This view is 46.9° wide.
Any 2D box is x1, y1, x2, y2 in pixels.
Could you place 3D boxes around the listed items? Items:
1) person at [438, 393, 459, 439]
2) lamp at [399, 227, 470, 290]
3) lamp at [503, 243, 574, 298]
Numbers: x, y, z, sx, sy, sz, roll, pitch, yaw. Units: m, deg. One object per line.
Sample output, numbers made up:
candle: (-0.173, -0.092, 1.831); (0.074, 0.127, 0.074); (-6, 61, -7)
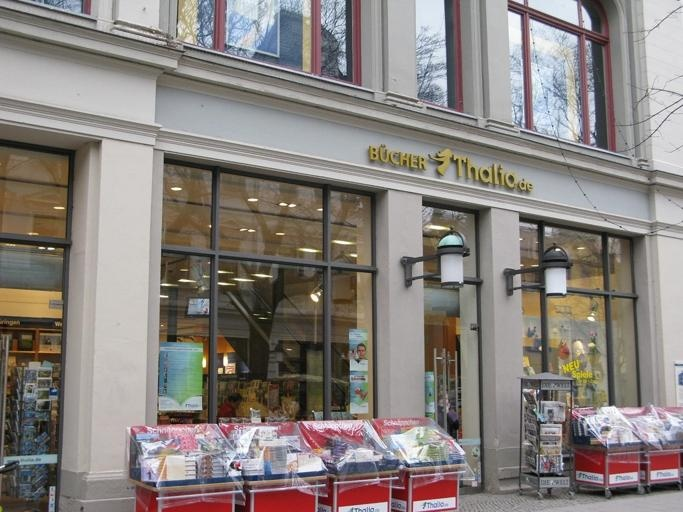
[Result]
person: (1.991, 2.943, 14.437); (0.572, 0.798, 0.215); (7, -14, -43)
lamp: (1.604, 0.083, 13.470); (1.273, 0.945, 0.599); (-10, -15, 43)
lamp: (3.644, 0.337, 14.757); (1.166, 0.980, 0.609); (-10, -18, 34)
